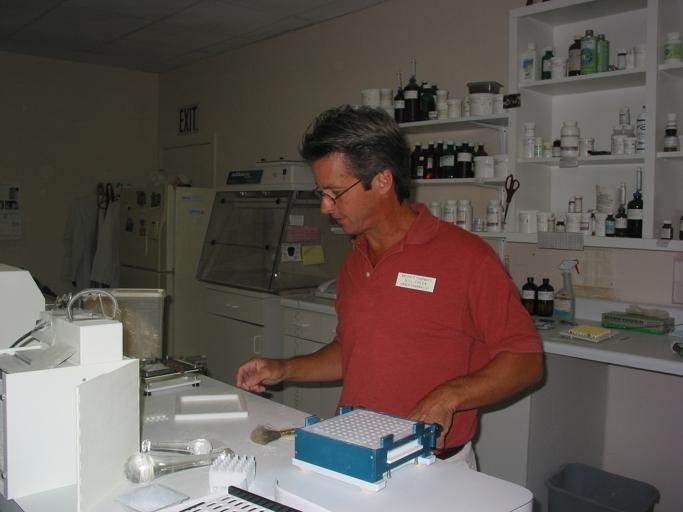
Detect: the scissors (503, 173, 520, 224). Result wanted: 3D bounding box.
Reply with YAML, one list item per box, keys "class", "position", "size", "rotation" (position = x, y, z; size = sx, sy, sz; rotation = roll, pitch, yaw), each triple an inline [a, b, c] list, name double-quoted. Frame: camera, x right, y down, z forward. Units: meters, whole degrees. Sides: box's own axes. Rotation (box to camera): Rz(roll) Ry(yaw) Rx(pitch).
- class: "scissors"
  position: [0.980, -0.337, 3.098]
  size: [0.090, 0.270, 0.019]
  rotation: [25, 27, 38]

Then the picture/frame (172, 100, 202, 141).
- class: "picture/frame"
  position: [-1.666, -1.474, 5.748]
  size: [0.034, 0.356, 0.450]
  rotation: [-2, 6, -42]

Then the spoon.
- class: "spoon"
  position: [-0.436, 0.564, 1.410]
  size: [0.284, 0.086, 0.078]
  rotation: [-2, -3, -31]

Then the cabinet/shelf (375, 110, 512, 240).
- class: "cabinet/shelf"
  position: [0.566, -0.431, 2.732]
  size: [0.276, 0.779, 0.810]
  rotation: [0, 1, -40]

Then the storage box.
- class: "storage box"
  position: [-0.886, 0.152, 2.185]
  size: [0.259, 0.489, 0.467]
  rotation: [1, -2, -22]

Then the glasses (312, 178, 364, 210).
- class: "glasses"
  position: [-0.027, -0.214, 1.705]
  size: [0.100, 0.033, 0.096]
  rotation: [-31, 20, -24]
